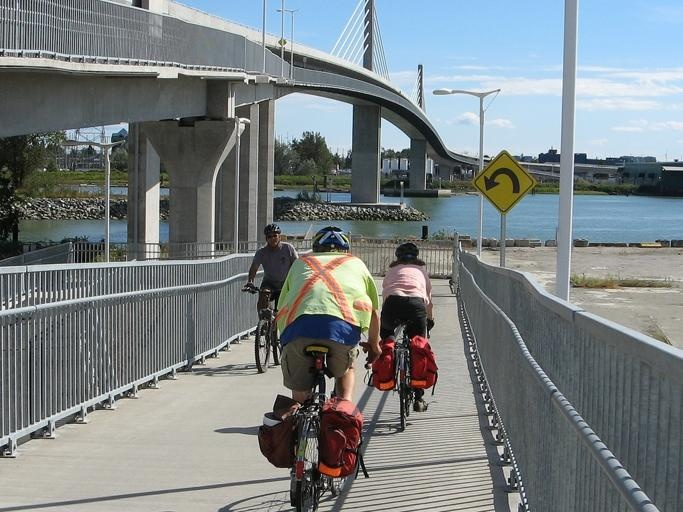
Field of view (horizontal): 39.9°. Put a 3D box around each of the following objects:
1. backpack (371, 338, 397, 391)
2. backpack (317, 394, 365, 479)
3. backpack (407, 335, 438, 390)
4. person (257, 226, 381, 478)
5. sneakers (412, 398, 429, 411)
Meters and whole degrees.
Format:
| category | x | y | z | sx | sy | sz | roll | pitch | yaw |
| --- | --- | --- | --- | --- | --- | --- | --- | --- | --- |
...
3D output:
| category | x | y | z | sx | sy | sz | roll | pitch | yaw |
| --- | --- | --- | --- | --- | --- | --- | --- | --- | --- |
| backpack | 0.464 | 1.152 | 10.276 | 0.224 | 0.577 | 0.378 | 2 | 14 | 10 |
| backpack | -0.027 | 1.389 | 7.787 | 0.396 | 0.898 | 0.614 | 1 | 2 | 3 |
| backpack | 0.937 | 1.304 | 10.662 | 0.278 | 0.657 | 0.524 | 2 | -28 | 8 |
| person | -0.113 | 0.777 | 8.533 | 0.895 | 2.356 | 1.496 | 5 | -9 | -2 |
| sneakers | 0.914 | 1.741 | 10.991 | 0.097 | 0.156 | 0.203 | -3 | -15 | 8 |
